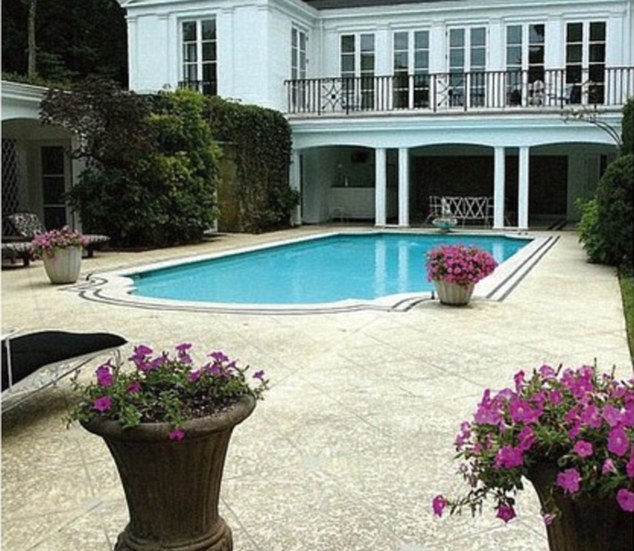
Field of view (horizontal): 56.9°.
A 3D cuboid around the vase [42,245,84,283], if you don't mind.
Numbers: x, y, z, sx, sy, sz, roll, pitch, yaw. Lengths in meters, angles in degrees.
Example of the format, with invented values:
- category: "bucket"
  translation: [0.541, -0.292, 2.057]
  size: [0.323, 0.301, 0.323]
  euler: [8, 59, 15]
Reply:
- category: "vase"
  translation: [-4.520, -0.123, 10.181]
  size: [0.543, 0.670, 0.487]
  euler: [-7, -25, -29]

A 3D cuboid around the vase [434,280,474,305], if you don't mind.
- category: "vase"
  translation: [1.856, 0.234, 7.968]
  size: [0.357, 0.292, 0.377]
  euler: [3, 4, 38]

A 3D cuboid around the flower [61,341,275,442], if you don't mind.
- category: "flower"
  translation: [-0.609, 0.465, 2.322]
  size: [0.669, 0.248, 0.719]
  euler: [-2, 6, -9]

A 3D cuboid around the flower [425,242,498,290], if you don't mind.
- category: "flower"
  translation: [1.920, -0.156, 7.926]
  size: [0.627, 0.416, 0.611]
  euler: [3, 7, 37]
